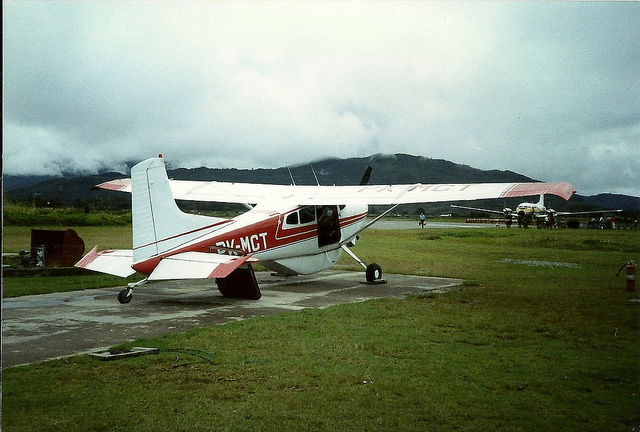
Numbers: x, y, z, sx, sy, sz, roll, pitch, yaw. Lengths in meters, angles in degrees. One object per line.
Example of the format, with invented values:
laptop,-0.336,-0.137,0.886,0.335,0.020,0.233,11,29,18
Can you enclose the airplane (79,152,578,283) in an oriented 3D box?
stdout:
airplane,-1.589,0.177,15.229,10.924,3.865,6.599,0,4,-8

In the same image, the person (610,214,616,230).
person,17.387,0.366,27.556,0.212,0.793,0.836,-3,-34,21

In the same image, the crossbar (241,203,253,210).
crossbar,-2.605,-0.372,16.705,0.106,0.165,1.240,4,6,-29

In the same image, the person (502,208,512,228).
person,20.321,0.138,50.456,1.115,2.339,0.685,-1,6,-7

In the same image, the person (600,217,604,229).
person,19.116,0.472,31.499,0.191,0.677,1.780,3,4,30

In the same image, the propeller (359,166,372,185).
propeller,1.763,-1.531,17.549,0.237,1.097,0.049,22,-41,18

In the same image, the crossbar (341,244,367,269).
crossbar,1.376,1.582,17.532,1.369,0.479,0.442,33,23,-9

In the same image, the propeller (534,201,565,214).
propeller,24.227,-0.918,49.250,1.931,1.596,0.634,5,12,1
